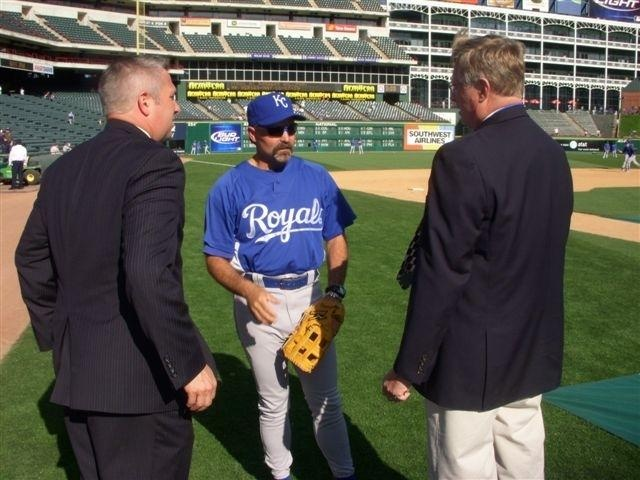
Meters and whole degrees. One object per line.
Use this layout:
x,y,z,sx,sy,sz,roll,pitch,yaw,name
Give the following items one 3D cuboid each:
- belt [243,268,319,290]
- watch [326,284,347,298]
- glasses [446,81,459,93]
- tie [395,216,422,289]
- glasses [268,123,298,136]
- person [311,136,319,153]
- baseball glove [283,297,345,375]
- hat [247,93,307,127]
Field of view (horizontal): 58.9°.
-0.246,0.250,3.608,0.472,0.112,0.129,1,10,-7,belt
0.104,0.347,3.640,0.102,0.085,0.097,17,-19,-31,watch
0.712,-0.817,3.010,0.045,0.025,0.063,-1,5,-4,glasses
0.490,0.074,3.000,0.089,0.455,0.034,11,-28,10,tie
-0.222,-0.703,3.610,0.096,0.095,0.251,8,12,32,glasses
-0.368,-7.753,46.128,0.785,1.719,0.761,-3,-1,-5,person
-0.027,0.583,3.441,0.257,0.184,0.539,19,53,19,baseball glove
-0.303,-0.836,3.687,0.400,0.229,0.341,5,14,35,hat
